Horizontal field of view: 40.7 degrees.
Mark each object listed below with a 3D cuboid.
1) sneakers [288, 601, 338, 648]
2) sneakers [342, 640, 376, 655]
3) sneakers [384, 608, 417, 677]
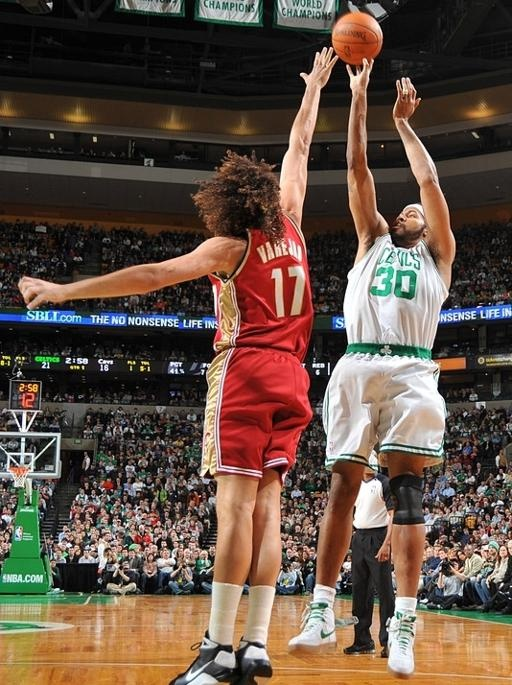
[{"bbox_3d":[0.234,1.221,2.955,0.116,0.166,0.295,-8,-23,23],"label":"sneakers"},{"bbox_3d":[0.849,2.501,5.658,0.254,0.098,0.092,4,-19,-5],"label":"sneakers"},{"bbox_3d":[0.586,1.215,2.814,0.103,0.137,0.309,2,12,4],"label":"sneakers"}]
